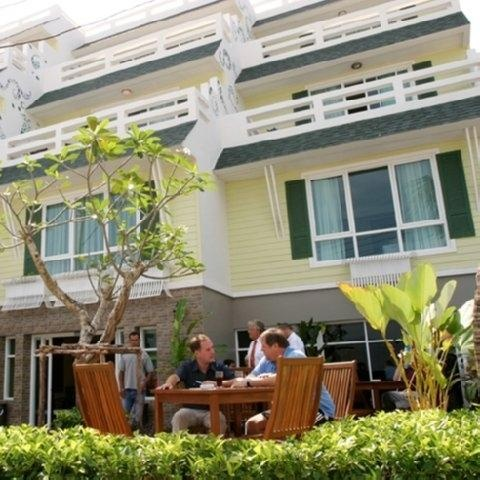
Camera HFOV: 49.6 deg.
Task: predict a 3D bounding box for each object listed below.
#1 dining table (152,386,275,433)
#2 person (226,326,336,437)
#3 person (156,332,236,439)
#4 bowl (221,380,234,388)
[{"bbox_3d":[-0.387,1.670,4.921,1.280,0.469,0.865,7,-19,-22],"label":"dining table"},{"bbox_3d":[0.448,1.707,5.485,1.272,1.354,0.659,-2,-14,10],"label":"person"},{"bbox_3d":[-0.366,1.877,6.042,1.013,1.364,0.939,-6,-18,15],"label":"person"},{"bbox_3d":[-0.140,1.561,5.551,0.099,0.059,0.077,-5,-7,40],"label":"bowl"}]
